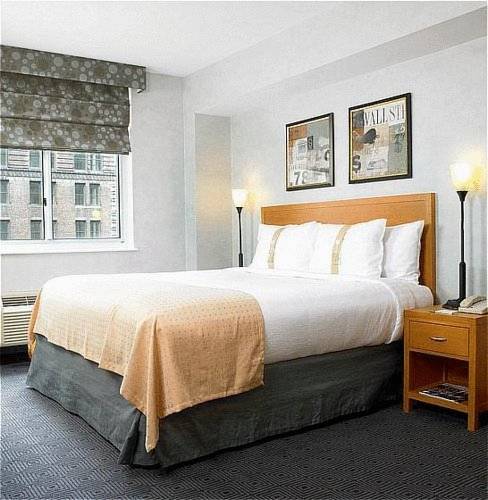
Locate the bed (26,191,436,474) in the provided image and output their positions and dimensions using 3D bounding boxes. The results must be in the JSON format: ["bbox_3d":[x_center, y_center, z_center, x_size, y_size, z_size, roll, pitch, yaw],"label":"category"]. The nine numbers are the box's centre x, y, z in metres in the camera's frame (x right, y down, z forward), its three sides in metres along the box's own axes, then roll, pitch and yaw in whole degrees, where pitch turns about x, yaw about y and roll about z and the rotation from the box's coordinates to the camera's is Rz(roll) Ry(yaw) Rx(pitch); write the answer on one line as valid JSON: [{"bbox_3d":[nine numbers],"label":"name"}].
[{"bbox_3d":[0.008,0.495,2.521,1.706,1.318,1.742,-1,0,-37],"label":"bed"}]

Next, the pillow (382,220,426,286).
[{"bbox_3d":[1.108,0.014,2.961,0.105,0.414,0.365,10,-11,-33],"label":"pillow"}]

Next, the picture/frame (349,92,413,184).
[{"bbox_3d":[1.059,-0.871,3.385,0.479,0.694,0.027,-4,-16,27],"label":"picture/frame"}]

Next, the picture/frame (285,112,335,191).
[{"bbox_3d":[0.629,-0.931,3.959,0.033,0.943,0.675,2,-3,-35],"label":"picture/frame"}]

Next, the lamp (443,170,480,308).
[{"bbox_3d":[1.347,-0.117,2.621,0.171,0.930,0.499,-1,-1,35],"label":"lamp"}]

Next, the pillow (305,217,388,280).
[{"bbox_3d":[0.747,0.003,3.065,0.134,0.313,0.367,31,-23,-28],"label":"pillow"}]
